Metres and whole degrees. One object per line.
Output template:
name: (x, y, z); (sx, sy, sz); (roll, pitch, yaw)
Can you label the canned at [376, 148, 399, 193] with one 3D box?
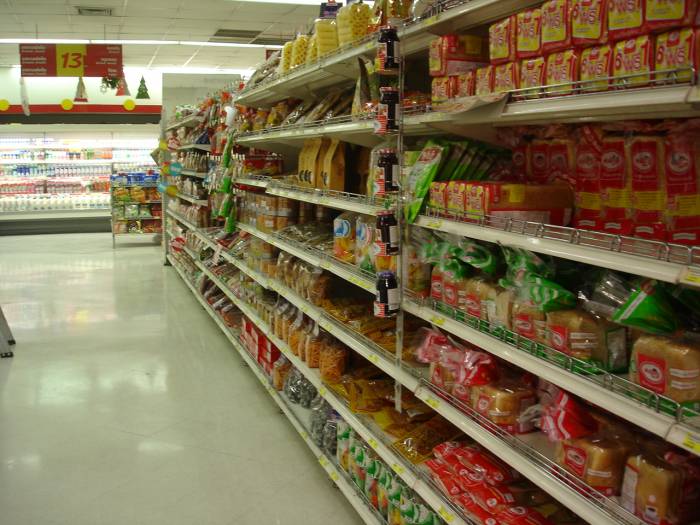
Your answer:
canned: (0.189, -0.381, 2.116); (0.150, 0.178, 0.120); (-3, 16, 4)
